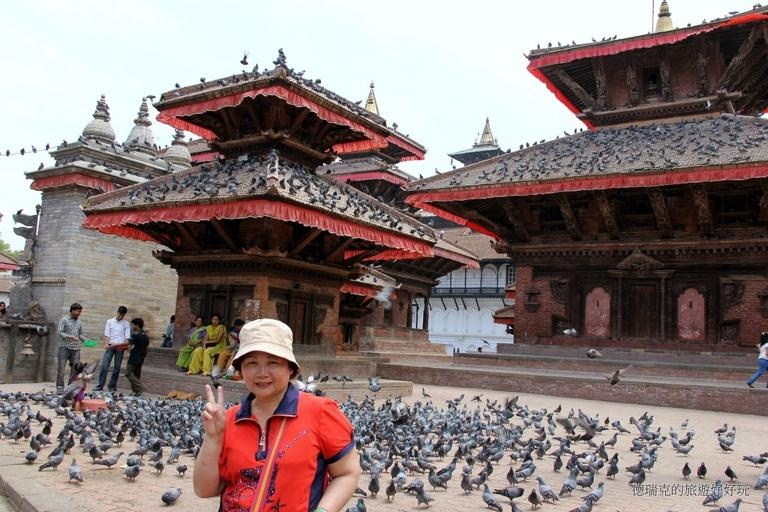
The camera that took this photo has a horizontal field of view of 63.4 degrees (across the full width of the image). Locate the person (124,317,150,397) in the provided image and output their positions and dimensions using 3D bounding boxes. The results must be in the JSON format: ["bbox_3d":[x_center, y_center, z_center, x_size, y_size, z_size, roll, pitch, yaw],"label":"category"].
[{"bbox_3d":[-6.660,2.653,16.523,0.831,1.978,0.609,6,6,4],"label":"person"}]

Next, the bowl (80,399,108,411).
[{"bbox_3d":[-6.459,3.296,13.843,0.545,0.174,0.542,0,-4,0],"label":"bowl"}]

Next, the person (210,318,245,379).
[{"bbox_3d":[-4.599,2.502,17.080,0.701,1.233,0.365,15,5,14],"label":"person"}]

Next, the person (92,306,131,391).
[{"bbox_3d":[-7.439,2.502,17.490,1.272,2.443,1.131,-1,-2,42],"label":"person"}]
